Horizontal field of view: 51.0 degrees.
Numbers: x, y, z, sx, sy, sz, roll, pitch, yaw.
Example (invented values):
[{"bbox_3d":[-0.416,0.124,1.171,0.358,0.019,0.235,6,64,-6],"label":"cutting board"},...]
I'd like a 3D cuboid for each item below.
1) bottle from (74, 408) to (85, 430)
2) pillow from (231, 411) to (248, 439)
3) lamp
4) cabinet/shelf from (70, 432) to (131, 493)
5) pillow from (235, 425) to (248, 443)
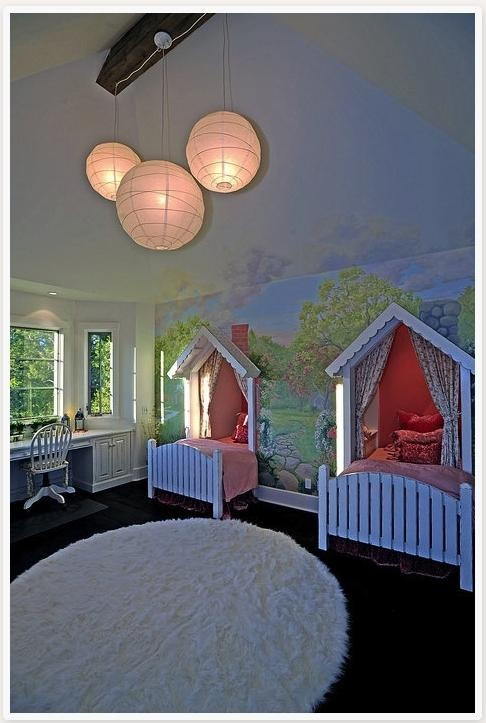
[{"bbox_3d":[-2.044,0.723,6.376,0.114,0.249,0.302,-2,5,-17],"label":"bottle"},{"bbox_3d":[-0.024,0.796,6.165,0.078,0.290,0.260,13,-10,-21],"label":"pillow"},{"bbox_3d":[-0.452,-1.469,2.997,0.968,1.527,0.386,0,0,-9],"label":"lamp"},{"bbox_3d":[-1.665,1.163,6.097,0.751,0.709,0.589,-2,5,-20],"label":"cabinet/shelf"},{"bbox_3d":[-0.017,0.843,6.001,0.049,0.167,0.164,23,-25,-38],"label":"pillow"}]
